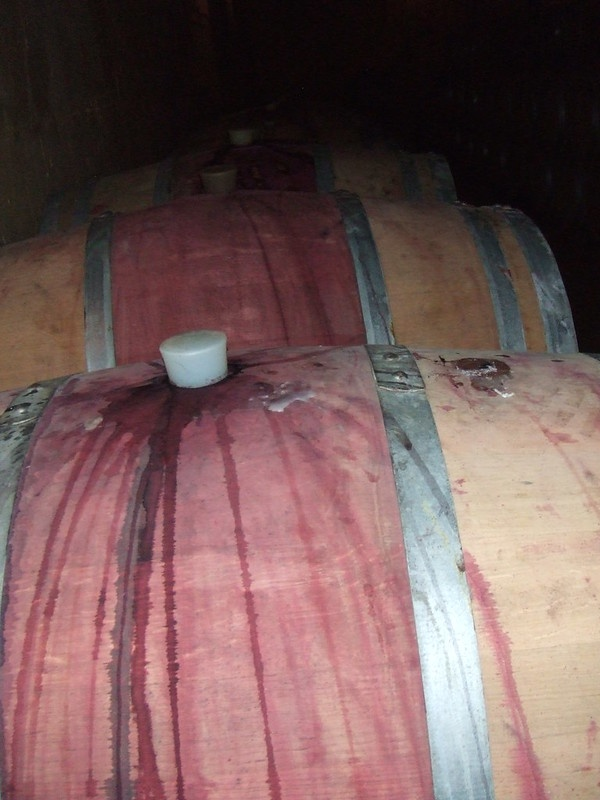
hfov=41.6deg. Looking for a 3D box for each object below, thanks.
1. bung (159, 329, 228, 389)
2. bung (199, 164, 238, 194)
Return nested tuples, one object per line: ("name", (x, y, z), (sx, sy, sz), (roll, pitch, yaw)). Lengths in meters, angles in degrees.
("bung", (-0.170, -0.070, 1.257), (0.112, 0.094, 0.058), (-4, -60, -4))
("bung", (-0.242, -0.639, 2.323), (0.122, 0.127, 0.071), (-5, -75, -10))
